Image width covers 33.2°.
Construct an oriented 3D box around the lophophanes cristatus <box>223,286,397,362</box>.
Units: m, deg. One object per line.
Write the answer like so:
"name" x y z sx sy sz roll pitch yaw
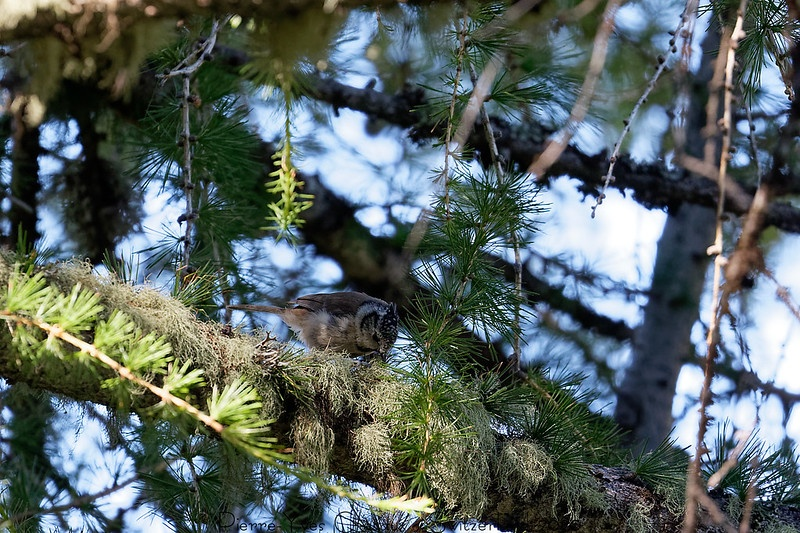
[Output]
"lophophanes cristatus" -0.618 0.356 9.758 1.081 0.549 0.360 17 -2 10
